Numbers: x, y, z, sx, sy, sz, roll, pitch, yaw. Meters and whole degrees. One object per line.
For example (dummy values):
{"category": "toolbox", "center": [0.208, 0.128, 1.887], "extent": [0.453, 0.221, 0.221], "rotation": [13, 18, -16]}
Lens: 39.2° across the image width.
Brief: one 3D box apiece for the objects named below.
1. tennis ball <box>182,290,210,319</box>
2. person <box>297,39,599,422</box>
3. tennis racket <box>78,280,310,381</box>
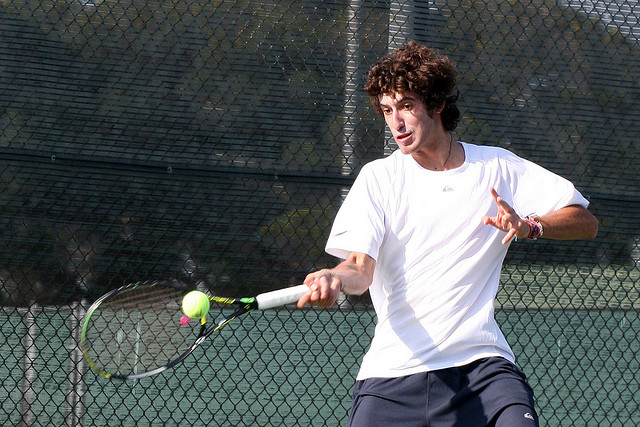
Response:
{"category": "tennis ball", "center": [-0.601, 0.444, 4.478], "extent": [0.139, 0.127, 0.130], "rotation": [1, 22, -1]}
{"category": "person", "center": [0.650, 0.119, 4.548], "extent": [1.165, 1.726, 1.069], "rotation": [7, 18, 14]}
{"category": "tennis racket", "center": [-0.589, 0.527, 5.057], "extent": [1.511, 0.539, 0.156], "rotation": [-10, 0, -34]}
